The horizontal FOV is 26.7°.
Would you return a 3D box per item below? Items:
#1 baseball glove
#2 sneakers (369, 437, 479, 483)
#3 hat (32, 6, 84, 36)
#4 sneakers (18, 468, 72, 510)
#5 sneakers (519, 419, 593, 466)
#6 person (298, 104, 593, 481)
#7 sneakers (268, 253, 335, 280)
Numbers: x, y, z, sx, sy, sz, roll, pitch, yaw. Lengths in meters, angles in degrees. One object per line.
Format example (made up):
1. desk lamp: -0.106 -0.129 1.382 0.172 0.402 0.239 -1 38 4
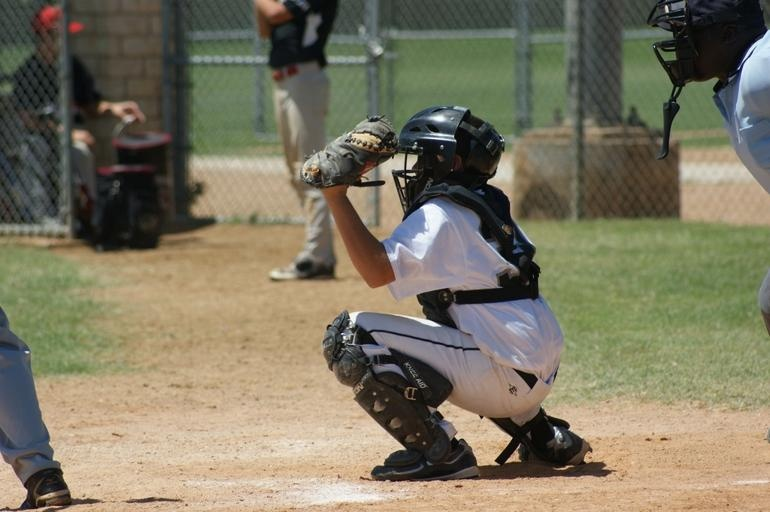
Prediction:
1. baseball glove: -0.188 -0.573 9.042 0.552 0.224 0.387 -25 32 -20
2. sneakers: 0.234 1.165 9.247 0.647 0.283 0.234 2 -8 -1
3. hat: -1.982 -1.428 9.796 0.266 0.143 0.169 3 -3 9
4. sneakers: -1.854 1.270 8.878 0.139 0.165 0.352 -3 5 -24
5. sneakers: 0.972 1.059 9.373 0.234 0.277 0.650 -4 -5 -44
6. person: 0.334 0.208 9.109 1.421 2.064 0.367 -2 6 -3
7. sneakers: -0.592 0.090 12.096 0.430 0.175 0.157 1 1 -20
